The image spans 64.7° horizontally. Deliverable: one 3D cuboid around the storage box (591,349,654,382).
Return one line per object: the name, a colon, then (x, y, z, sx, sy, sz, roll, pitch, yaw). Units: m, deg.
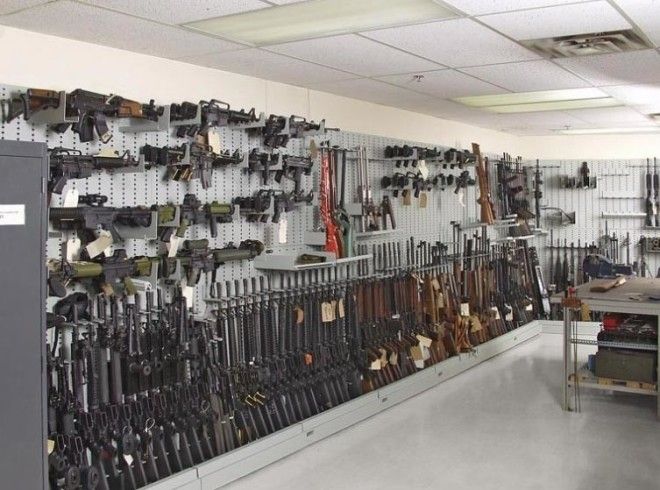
storage box: (2.817, 1.153, 4.992, 0.446, 0.295, 0.227, 5, -1, 24)

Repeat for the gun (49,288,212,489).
gun: (-1.454, 1.079, 3.739, 0.857, 1.420, 0.514, -2, 6, -42)

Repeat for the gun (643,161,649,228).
gun: (5.235, -0.835, 8.628, 0.117, 1.076, 0.207, 2, 5, 28)

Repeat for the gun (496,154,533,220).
gun: (2.991, -0.907, 8.488, 0.478, 1.040, 1.481, 2, 5, 29)

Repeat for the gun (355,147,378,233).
gun: (0.384, -0.592, 5.553, 0.233, 0.902, 0.587, 0, 4, 2)

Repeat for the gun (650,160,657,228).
gun: (5.346, -0.836, 8.611, 0.120, 1.098, 0.274, 2, 5, 30)
